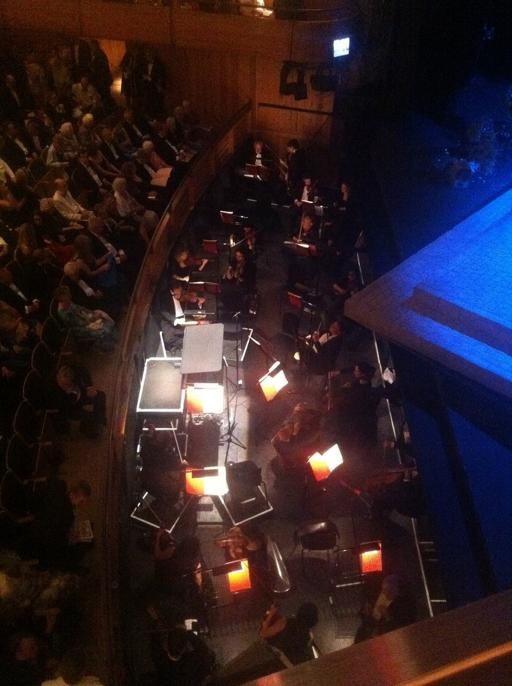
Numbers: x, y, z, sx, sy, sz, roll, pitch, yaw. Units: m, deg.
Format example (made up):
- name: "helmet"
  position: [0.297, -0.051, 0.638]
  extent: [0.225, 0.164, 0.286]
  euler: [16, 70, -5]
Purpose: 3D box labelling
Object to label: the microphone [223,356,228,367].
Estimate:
- name: "microphone"
  position: [-0.576, 0.360, 10.274]
  extent: [0.050, 0.221, 0.061]
  euler: [1, 27, 46]
